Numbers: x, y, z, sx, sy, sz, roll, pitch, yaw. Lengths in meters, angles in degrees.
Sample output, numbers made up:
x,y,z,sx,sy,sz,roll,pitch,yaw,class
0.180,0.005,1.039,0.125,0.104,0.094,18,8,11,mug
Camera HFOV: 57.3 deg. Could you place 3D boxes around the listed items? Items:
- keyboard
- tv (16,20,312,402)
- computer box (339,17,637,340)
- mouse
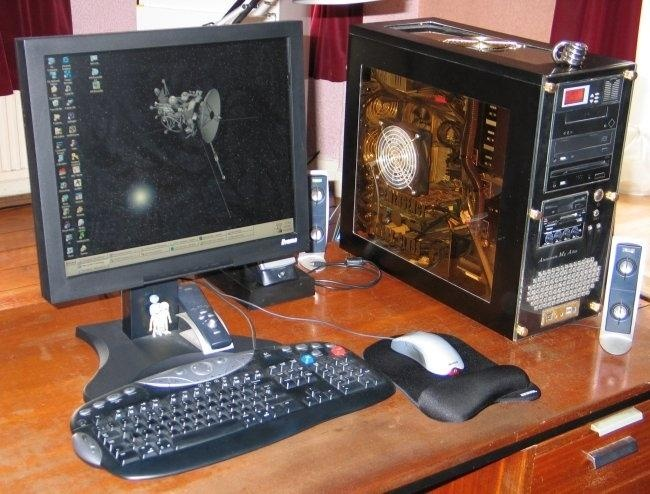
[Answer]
x,y,z,sx,sy,sz,roll,pitch,yaw,class
-0.156,0.265,1.031,0.506,0.073,0.297,-22,30,-35,keyboard
-0.293,-0.058,1.115,0.574,0.697,0.333,-14,38,-39,tv
0.350,-0.190,1.454,0.334,0.562,0.600,-18,30,-32,computer box
0.206,0.198,1.126,0.065,0.038,0.115,-11,25,-31,mouse
